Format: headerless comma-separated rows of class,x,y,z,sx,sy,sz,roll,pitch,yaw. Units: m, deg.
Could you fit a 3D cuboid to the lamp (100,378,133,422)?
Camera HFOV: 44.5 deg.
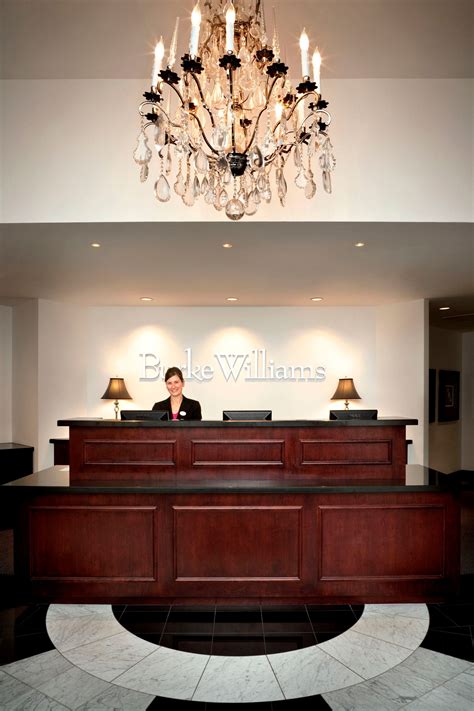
lamp,-1.612,0.591,7.831,0.364,0.591,0.589,-1,4,-10

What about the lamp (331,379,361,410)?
lamp,1.446,0.508,7.789,0.391,0.472,0.391,-1,-11,1

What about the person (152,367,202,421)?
person,-0.679,0.411,6.286,0.487,0.962,0.292,-3,-9,-2
